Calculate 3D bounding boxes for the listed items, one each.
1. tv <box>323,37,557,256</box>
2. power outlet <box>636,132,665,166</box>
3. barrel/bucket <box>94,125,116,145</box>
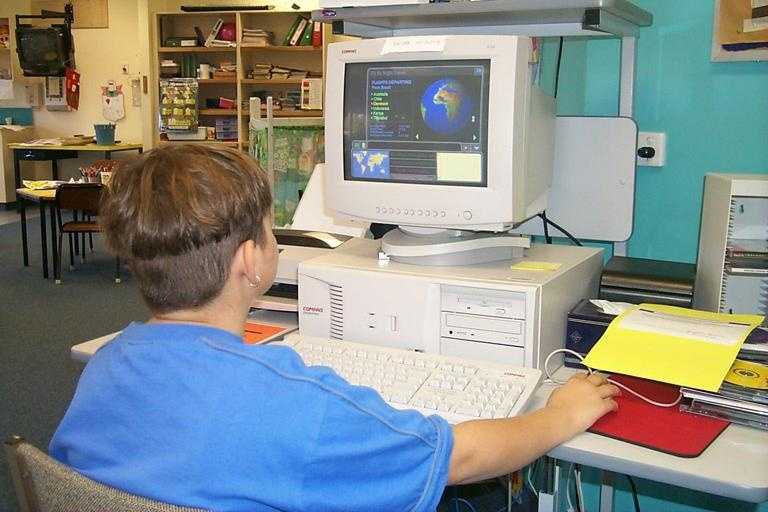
[{"bbox_3d":[0.172,-0.341,2.004,0.847,0.749,0.598,4,10,24],"label":"tv"},{"bbox_3d":[0.966,-0.391,2.147,0.136,0.132,0.067,5,7,35],"label":"power outlet"},{"bbox_3d":[-3.723,-1.604,7.988,0.314,0.275,0.307,1,10,0],"label":"barrel/bucket"}]
